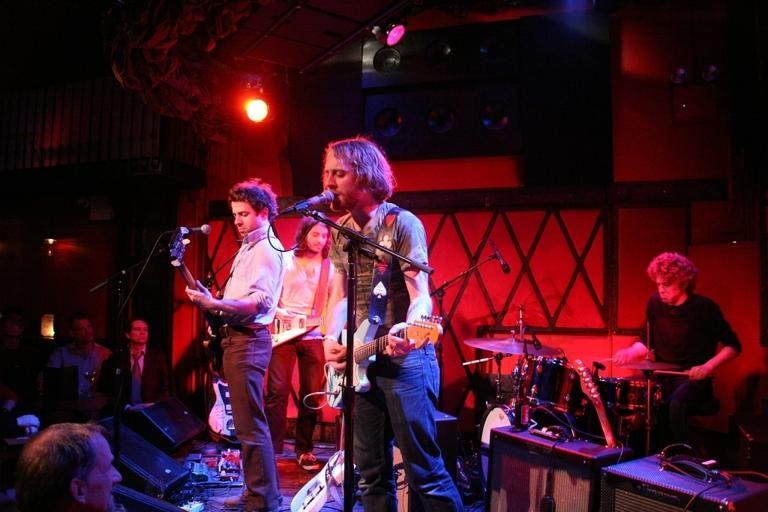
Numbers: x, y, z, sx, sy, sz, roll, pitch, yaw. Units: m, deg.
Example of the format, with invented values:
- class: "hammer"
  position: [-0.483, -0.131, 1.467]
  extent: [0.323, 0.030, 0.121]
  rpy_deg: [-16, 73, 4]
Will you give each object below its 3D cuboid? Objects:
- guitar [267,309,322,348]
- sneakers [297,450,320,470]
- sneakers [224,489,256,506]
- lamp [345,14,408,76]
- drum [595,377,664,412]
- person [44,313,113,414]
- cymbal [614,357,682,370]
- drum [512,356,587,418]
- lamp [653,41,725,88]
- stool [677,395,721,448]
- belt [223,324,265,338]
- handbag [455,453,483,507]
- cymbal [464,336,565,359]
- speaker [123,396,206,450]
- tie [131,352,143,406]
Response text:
- class: "guitar"
  position: [-1.074, 0.850, 8.372]
  extent: [0.584, 0.362, 0.558]
  rpy_deg: [-21, -14, 19]
- class: "sneakers"
  position: [-0.929, 2.581, 8.203]
  extent: [0.138, 0.132, 0.314]
  rpy_deg: [8, -17, -36]
- class: "sneakers"
  position: [-1.547, 2.619, 6.983]
  extent: [0.331, 0.138, 0.219]
  rpy_deg: [3, -12, -7]
- class: "lamp"
  position: [0.088, -2.847, 8.817]
  extent: [0.445, 0.750, 0.398]
  rpy_deg: [8, 3, -1]
- class: "drum"
  position: [2.719, 1.534, 7.189]
  extent: [0.537, 0.244, 0.515]
  rpy_deg: [1, -5, 0]
- class: "person"
  position: [-4.301, 1.499, 9.249]
  extent: [0.778, 1.276, 3.957]
  rpy_deg: [3, -9, -25]
- class: "cymbal"
  position: [3.067, 1.251, 7.529]
  extent: [0.677, 0.122, 0.582]
  rpy_deg: [0, -8, -3]
- class: "drum"
  position: [1.713, 1.357, 6.832]
  extent: [0.590, 0.400, 0.599]
  rpy_deg: [4, -12, 1]
- class: "lamp"
  position: [4.241, -2.642, 9.008]
  extent: [0.663, 0.657, 0.173]
  rpy_deg: [0, -4, 11]
- class: "stool"
  position: [3.563, 1.834, 7.591]
  extent: [0.621, 0.622, 0.261]
  rpy_deg: [3, -8, -23]
- class: "belt"
  position: [-1.441, 0.769, 6.743]
  extent: [0.430, 0.115, 0.129]
  rpy_deg: [3, -8, -21]
- class: "handbag"
  position: [0.989, 2.629, 7.639]
  extent: [0.392, 0.580, 0.201]
  rpy_deg: [11, -24, -20]
- class: "cymbal"
  position: [1.490, 1.060, 7.712]
  extent: [1.015, 0.227, 0.923]
  rpy_deg: [-5, -10, 30]
- class: "speaker"
  position: [-2.635, 1.981, 7.890]
  extent: [0.624, 0.393, 0.751]
  rpy_deg: [23, -8, -1]
- class: "tie"
  position: [-3.414, 1.670, 8.963]
  extent: [0.102, 0.857, 0.203]
  rpy_deg: [26, 28, 26]
